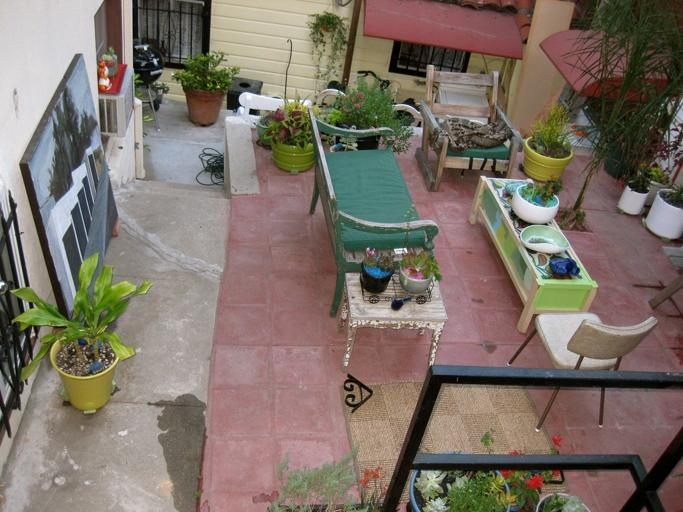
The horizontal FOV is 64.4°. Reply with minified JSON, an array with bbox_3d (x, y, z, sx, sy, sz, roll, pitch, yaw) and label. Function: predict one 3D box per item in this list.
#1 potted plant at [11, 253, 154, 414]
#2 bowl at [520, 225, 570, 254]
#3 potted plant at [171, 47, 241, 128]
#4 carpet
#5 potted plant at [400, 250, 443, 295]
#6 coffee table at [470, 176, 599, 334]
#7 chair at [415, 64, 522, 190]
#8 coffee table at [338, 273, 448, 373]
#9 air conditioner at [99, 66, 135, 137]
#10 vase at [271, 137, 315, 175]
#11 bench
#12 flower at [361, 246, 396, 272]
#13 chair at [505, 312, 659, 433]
[{"bbox_3d":[-1.907,0.532,4.112,0.809,1.157,0.888,-2,28,-19],"label":"potted plant"},{"bbox_3d":[2.038,-0.172,5.493,0.329,0.149,0.342,4,30,-2],"label":"bowl"},{"bbox_3d":[-2.547,-3.051,10.331,1.019,1.541,0.861,-4,34,-13],"label":"potted plant"},{"bbox_3d":[0.797,1.583,4.627,1.142,0.024,1.359,4,36,-6],"label":"carpet"},{"bbox_3d":[0.661,0.199,4.731,0.306,0.404,0.268,-6,26,-24],"label":"potted plant"},{"bbox_3d":[1.976,0.033,5.673,0.576,0.623,1.855,-2,46,-7],"label":"coffee table"},{"bbox_3d":[1.710,-1.720,7.509,1.661,1.368,1.795,-19,36,-34],"label":"chair"},{"bbox_3d":[0.428,0.466,4.837,0.985,0.811,0.788,4,52,-11],"label":"coffee table"},{"bbox_3d":[-2.553,-1.736,6.140,0.260,0.647,0.761,1,28,-12],"label":"air conditioner"},{"bbox_3d":[-0.629,-1.262,7.002,0.419,0.275,0.438,8,33,4],"label":"vase"},{"bbox_3d":[0.238,-0.477,5.902,0.974,1.370,2.304,-3,34,-7],"label":"bench"},{"bbox_3d":[0.339,0.047,4.750,0.198,0.138,0.279,8,11,10],"label":"flower"},{"bbox_3d":[2.010,0.832,4.606,0.696,1.123,0.752,4,27,-6],"label":"chair"}]
